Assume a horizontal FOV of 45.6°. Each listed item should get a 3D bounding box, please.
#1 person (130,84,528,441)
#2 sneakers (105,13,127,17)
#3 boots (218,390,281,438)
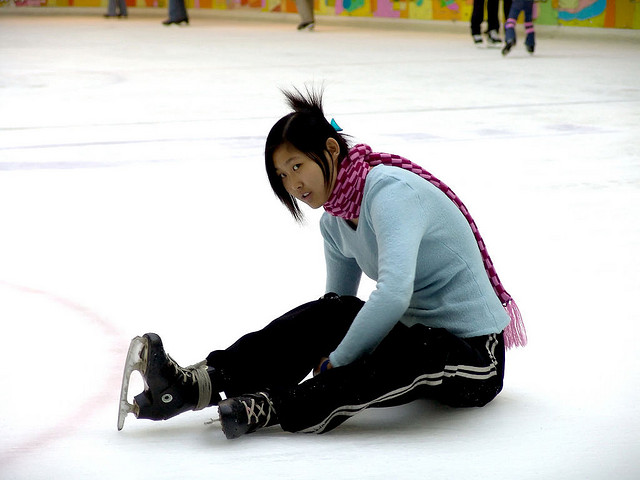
[{"bbox_3d":[0.020,0.075,1.988,1.127,0.824,0.528,-1,-2,-21],"label":"person"},{"bbox_3d":[-4.309,-4.826,16.228,0.290,0.057,0.170,-1,10,-6],"label":"sneakers"},{"bbox_3d":[-0.163,0.405,1.803,0.082,0.062,0.190,-4,1,24],"label":"boots"}]
